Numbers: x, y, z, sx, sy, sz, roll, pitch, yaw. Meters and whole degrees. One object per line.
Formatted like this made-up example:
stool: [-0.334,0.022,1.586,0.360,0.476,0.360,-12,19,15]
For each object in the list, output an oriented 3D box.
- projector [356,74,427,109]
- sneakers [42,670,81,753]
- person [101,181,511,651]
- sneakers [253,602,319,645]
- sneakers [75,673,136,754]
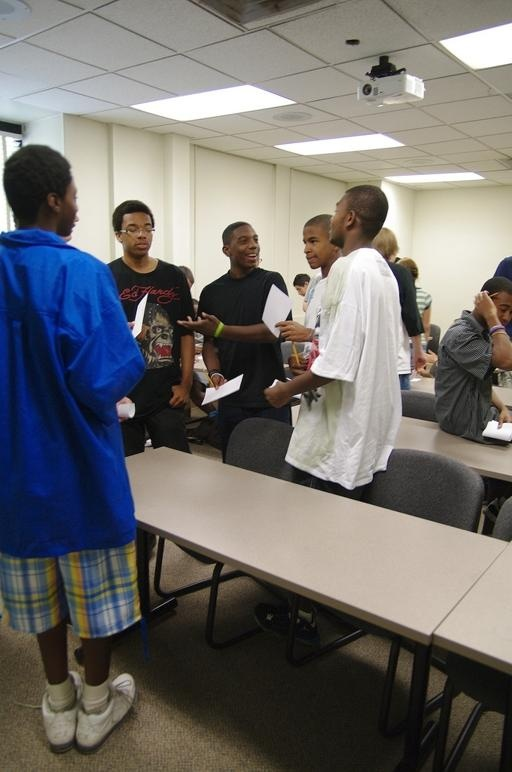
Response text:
projector: [0.831,-1.822,3.467,0.299,0.126,0.239,8,18,31]
sneakers: [-0.501,0.867,1.467,0.092,0.236,0.095,-3,-8,-2]
person: [0.468,-0.148,2.494,0.868,2.109,0.845,7,4,32]
sneakers: [0.104,0.852,2.016,0.254,0.099,0.134,11,12,33]
sneakers: [-0.391,0.876,1.521,0.077,0.097,0.217,2,15,11]
